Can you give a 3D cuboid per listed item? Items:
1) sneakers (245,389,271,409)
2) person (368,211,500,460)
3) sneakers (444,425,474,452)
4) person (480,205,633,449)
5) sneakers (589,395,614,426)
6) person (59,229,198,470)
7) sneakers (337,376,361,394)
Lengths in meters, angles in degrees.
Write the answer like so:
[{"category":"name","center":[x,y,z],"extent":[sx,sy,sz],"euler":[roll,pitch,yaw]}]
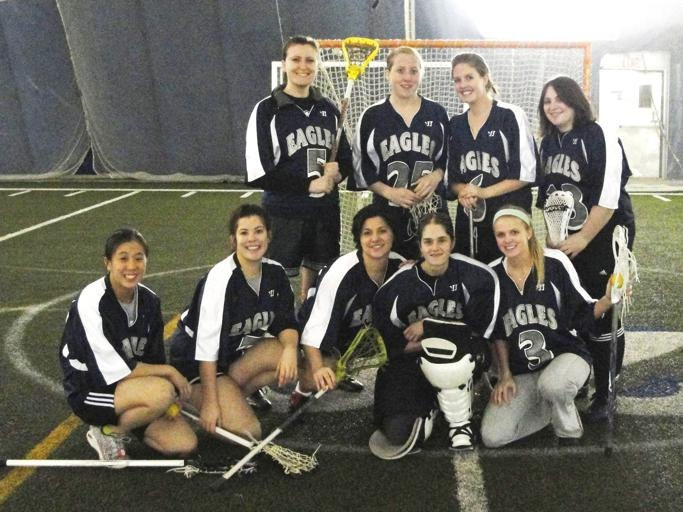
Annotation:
[{"category":"sneakers","center":[-0.451,0.796,3.505],"extent":[0.191,0.084,0.067],"euler":[9,7,30]},{"category":"person","center":[0.451,0.404,3.274],"extent":[0.682,1.193,0.910],"euler":[6,29,22]},{"category":"sneakers","center":[0.593,0.888,3.116],"extent":[0.135,0.111,0.125],"euler":[-2,18,9]},{"category":"person","center":[1.021,0.359,3.135],"extent":[0.589,1.084,0.610],"euler":[2,18,19]},{"category":"sneakers","center":[1.337,0.782,3.250],"extent":[0.104,0.054,0.141],"euler":[10,46,48]},{"category":"person","center":[-1.056,0.454,3.016],"extent":[0.547,1.043,0.508],"euler":[-14,19,-27]},{"category":"sneakers","center":[0.004,0.738,3.612],"extent":[0.197,0.081,0.075],"euler":[-6,-5,21]}]
